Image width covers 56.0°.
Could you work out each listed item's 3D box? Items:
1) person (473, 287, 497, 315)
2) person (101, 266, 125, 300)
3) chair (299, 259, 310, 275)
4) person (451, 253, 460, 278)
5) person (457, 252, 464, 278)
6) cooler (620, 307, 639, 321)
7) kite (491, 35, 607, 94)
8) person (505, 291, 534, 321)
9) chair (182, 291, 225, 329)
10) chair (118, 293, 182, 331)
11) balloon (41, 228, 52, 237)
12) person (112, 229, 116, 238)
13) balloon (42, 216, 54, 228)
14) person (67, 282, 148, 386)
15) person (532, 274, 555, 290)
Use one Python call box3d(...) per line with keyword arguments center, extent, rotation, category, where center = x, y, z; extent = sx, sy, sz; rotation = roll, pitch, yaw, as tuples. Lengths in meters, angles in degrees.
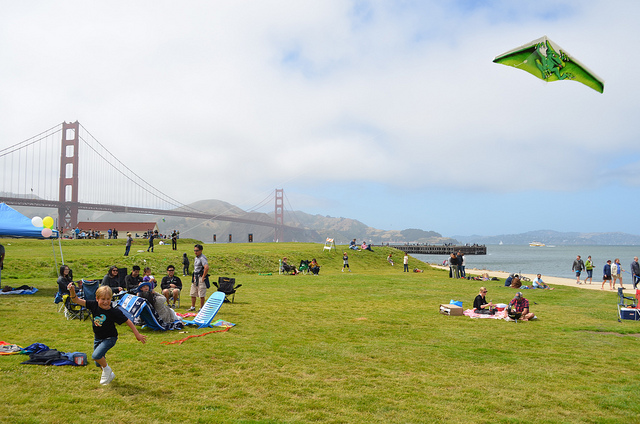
box3d(center=(7.557, 4.108, 27.838), extent=(1.102, 1.213, 1.291), rotation=(-5, -5, 25), category="person")
box3d(center=(-8.666, 3.032, 25.366), extent=(0.815, 1.559, 0.735), rotation=(0, 2, 3), category="person")
box3d(center=(-1.241, 4.301, 46.966), extent=(0.918, 1.133, 1.017), rotation=(0, -1, 10), category="chair")
box3d(center=(10.115, 3.976, 44.849), extent=(0.565, 1.640, 0.901), rotation=(-2, 11, -20), category="person")
box3d(center=(10.468, 3.906, 44.701), extent=(0.565, 1.710, 1.099), rotation=(4, 10, 8), category="person")
box3d(center=(13.880, 4.577, 27.066), extent=(0.595, 0.354, 0.573), rotation=(0, -1, 7), category="cooler")
box3d(center=(7.099, -4.860, 18.905), extent=(0.899, 1.451, 3.841), rotation=(-8, 27, -45), category="kite")
box3d(center=(8.957, 4.210, 27.289), extent=(1.336, 1.154, 1.012), rotation=(1, 8, 27), category="person")
box3d(center=(-4.745, 3.997, 24.190), extent=(0.774, 1.140, 2.476), rotation=(11, 7, 21), category="chair")
box3d(center=(-6.634, 3.932, 23.368), extent=(1.325, 0.684, 1.809), rotation=(4, -21, 46), category="chair")
box3d(center=(-13.073, 0.968, 28.900), extent=(0.576, 0.454, 0.359), rotation=(7, 11, 27), category="balloon")
box3d(center=(-24.875, 2.575, 72.918), extent=(0.362, 1.088, 1.052), rotation=(-1, 11, -19), category="person")
box3d(center=(-13.067, 0.465, 29.001), extent=(0.440, 0.585, 0.843), rotation=(-3, 11, -28), category="balloon")
box3d(center=(-6.781, 3.930, 19.176), extent=(1.259, 3.152, 0.563), rotation=(0, 11, -11), category="person")
box3d(center=(14.219, 4.505, 38.557), extent=(1.361, 0.935, 0.717), rotation=(3, 3, 1), category="person")
